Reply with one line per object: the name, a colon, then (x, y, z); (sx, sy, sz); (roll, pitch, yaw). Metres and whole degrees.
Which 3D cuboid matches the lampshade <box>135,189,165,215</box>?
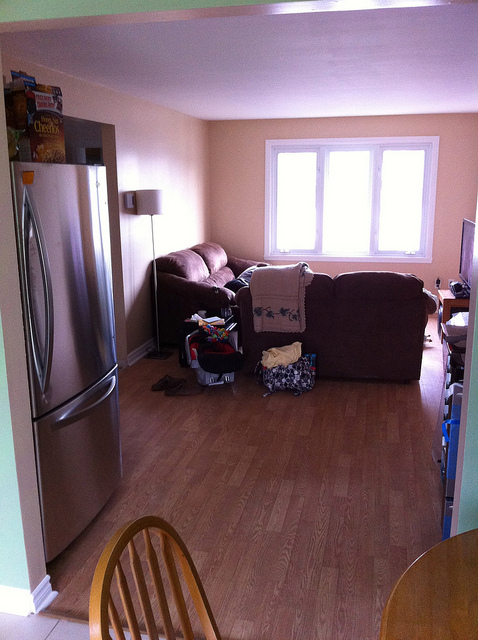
lampshade: (-0.886, -1.173, 4.504); (0.189, 0.220, 0.259); (0, 24, 3)
